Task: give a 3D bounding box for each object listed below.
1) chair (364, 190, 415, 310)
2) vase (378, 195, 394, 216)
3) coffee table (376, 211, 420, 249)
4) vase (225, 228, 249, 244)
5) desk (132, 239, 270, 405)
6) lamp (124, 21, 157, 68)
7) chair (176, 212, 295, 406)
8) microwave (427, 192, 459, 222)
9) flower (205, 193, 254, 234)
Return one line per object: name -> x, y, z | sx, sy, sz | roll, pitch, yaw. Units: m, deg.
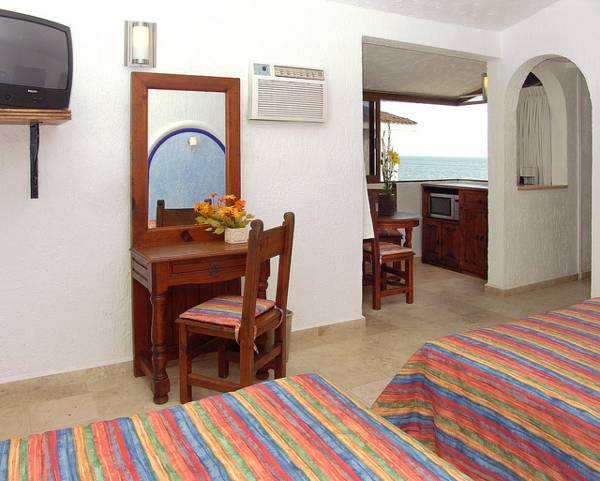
chair -> 0.991, 0.054, 4.920 | 0.583, 1.194, 1.726 | 1, 7, 14
vase -> 0.964, -0.392, 5.008 | 0.205, 0.310, 0.214 | 1, 3, 18
coffee table -> 1.074, -0.181, 4.910 | 0.444, 0.359, 0.468 | 1, 8, 13
vase -> -0.452, -0.063, 3.157 | 0.142, 0.119, 0.148 | -1, 5, -16
desk -> -0.554, 0.324, 3.254 | 1.187, 1.329, 0.844 | -3, 5, -32
lamp -> -1.048, -1.290, 2.937 | 0.209, 0.292, 0.078 | -3, 7, -19
chair -> -0.689, 0.475, 3.070 | 0.875, 0.926, 0.646 | -7, 12, -41
microwave -> 1.946, -0.456, 6.043 | 0.299, 0.369, 0.509 | -1, 5, -25
flower -> -0.498, -0.169, 3.116 | 0.296, 0.219, 0.307 | 0, 1, -13
